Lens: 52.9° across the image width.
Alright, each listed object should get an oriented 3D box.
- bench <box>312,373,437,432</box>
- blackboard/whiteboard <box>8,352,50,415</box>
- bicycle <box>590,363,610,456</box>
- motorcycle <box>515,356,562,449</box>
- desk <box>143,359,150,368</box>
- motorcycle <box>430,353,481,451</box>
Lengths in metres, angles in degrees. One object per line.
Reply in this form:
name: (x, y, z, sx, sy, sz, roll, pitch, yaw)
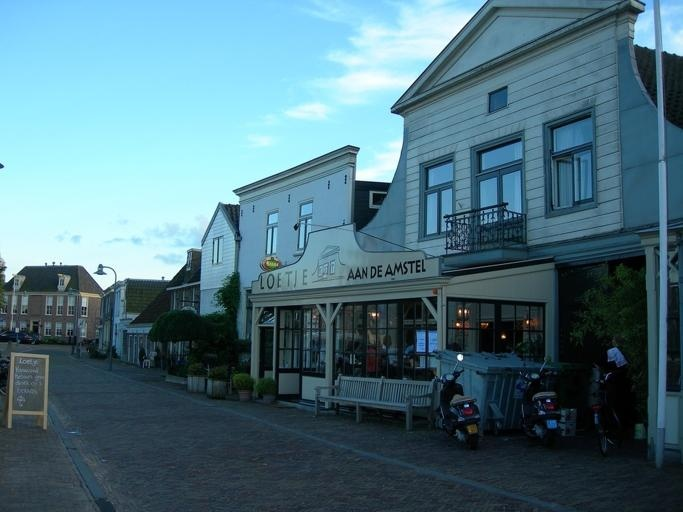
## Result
bench: (0.682, 3.510, 16.614, 0.904, 1.265, 3.588, 7, -10, -37)
blackboard/whiteboard: (-6.766, 2.750, 14.810, 0.785, 1.354, 0.483, 2, -4, -31)
bicycle: (4.985, 3.026, 13.210, 0.311, 1.413, 1.611, -1, -4, 20)
motorcycle: (3.951, 2.962, 13.761, 0.760, 1.538, 0.795, 2, -4, 25)
desk: (-12.128, 6.642, 42.739, 0.348, 0.470, 0.923, 2, -5, -31)
motorcycle: (2.308, 3.083, 13.701, 0.550, 1.396, 2.100, 1, -4, -11)
